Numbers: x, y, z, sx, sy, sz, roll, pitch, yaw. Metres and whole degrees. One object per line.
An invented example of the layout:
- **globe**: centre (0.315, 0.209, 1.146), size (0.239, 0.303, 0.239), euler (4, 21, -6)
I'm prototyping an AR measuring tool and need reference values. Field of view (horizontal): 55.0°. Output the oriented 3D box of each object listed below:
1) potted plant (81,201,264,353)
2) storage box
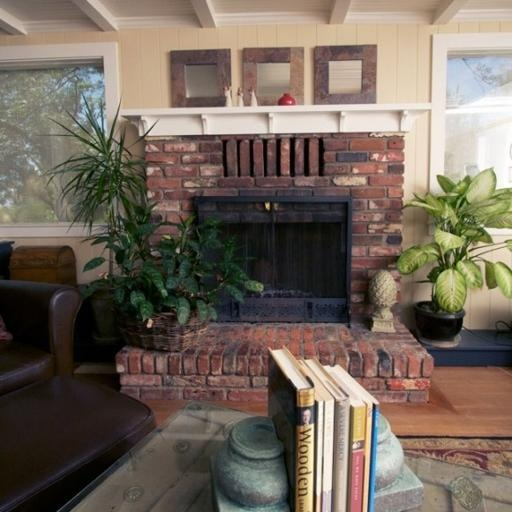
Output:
- **potted plant**: centre (-0.452, 0.207, 2.534), size (0.793, 0.485, 0.688), euler (-9, 12, -32)
- **storage box**: centre (-1.328, 0.064, 3.079), size (0.328, 0.204, 0.287), euler (1, 5, 8)
